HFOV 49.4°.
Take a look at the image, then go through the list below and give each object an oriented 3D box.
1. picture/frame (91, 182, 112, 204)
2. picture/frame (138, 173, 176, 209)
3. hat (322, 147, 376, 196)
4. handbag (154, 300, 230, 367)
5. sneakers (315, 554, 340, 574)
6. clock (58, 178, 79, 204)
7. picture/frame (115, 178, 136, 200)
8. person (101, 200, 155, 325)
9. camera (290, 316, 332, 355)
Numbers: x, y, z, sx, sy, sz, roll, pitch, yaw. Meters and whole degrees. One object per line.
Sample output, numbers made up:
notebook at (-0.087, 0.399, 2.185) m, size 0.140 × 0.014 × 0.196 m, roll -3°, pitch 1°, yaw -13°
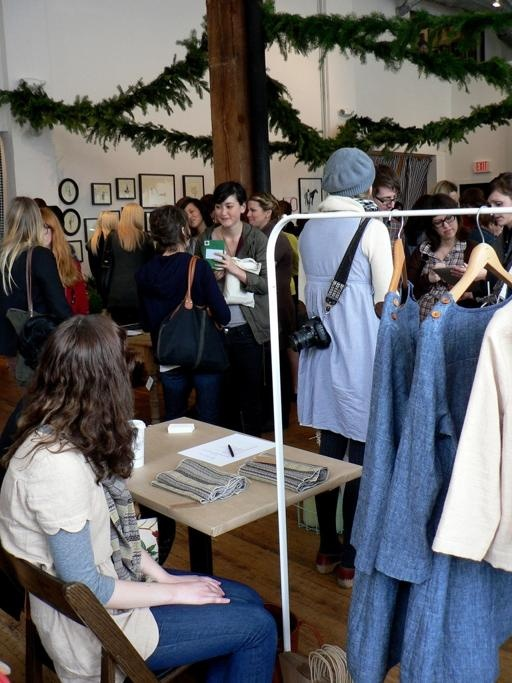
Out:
picture/frame at (-2.231, -2.125, 8.006) m, size 0.357 × 0.336 × 0.050 m, roll 1°, pitch 8°, yaw -34°
picture/frame at (-1.501, -2.299, 8.586) m, size 0.117 × 0.525 × 0.695 m, roll 9°, pitch 19°, yaw 44°
hat at (0.316, -0.572, 1.905) m, size 0.158 × 0.164 × 0.066 m, roll -2°, pitch 14°, yaw 11°
handbag at (-0.348, -0.044, 2.967) m, size 0.353 × 0.425 × 0.128 m, roll 2°, pitch 7°, yaw -4°
sneakers at (0.315, 0.959, 2.412) m, size 0.049 × 0.057 × 0.133 m, roll 2°, pitch 4°, yaw 34°
clock at (-2.599, -2.082, 7.718) m, size 0.036 × 0.401 × 0.418 m, roll 1°, pitch -2°, yaw 31°
picture/frame at (-1.929, -2.242, 8.206) m, size 0.046 × 0.289 × 0.347 m, roll 4°, pitch 8°, yaw 37°
person at (-1.109, -0.610, 4.848) m, size 0.421 × 1.189 × 0.365 m, roll 2°, pitch 40°, yaw -12°
camera at (0.170, -0.008, 1.980) m, size 0.135 × 0.124 × 0.125 m, roll -24°, pitch 3°, yaw -26°
